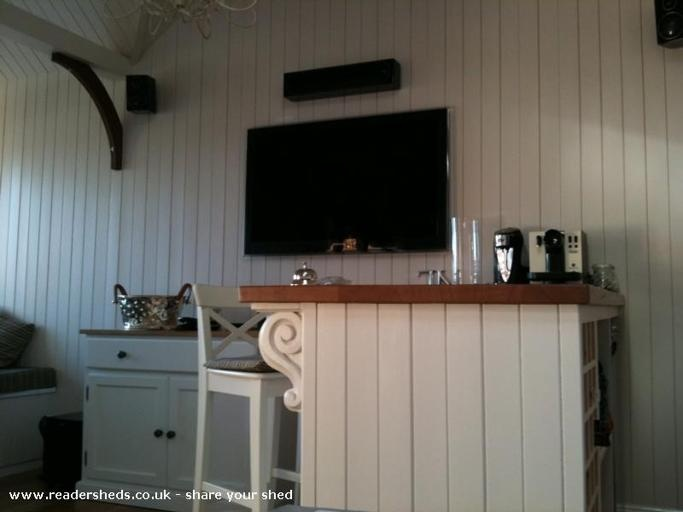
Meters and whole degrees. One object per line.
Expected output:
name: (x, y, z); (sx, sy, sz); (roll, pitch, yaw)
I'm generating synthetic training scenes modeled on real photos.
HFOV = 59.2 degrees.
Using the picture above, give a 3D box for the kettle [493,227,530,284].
kettle: (0.981, -0.007, 3.480); (0.188, 0.316, 0.222); (-1, -3, 10)

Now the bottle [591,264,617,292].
bottle: (1.312, 0.112, 3.005); (0.092, 0.158, 0.087); (-1, -12, 0)

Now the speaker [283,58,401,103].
speaker: (-0.013, -1.147, 3.905); (0.943, 0.264, 0.167); (0, -8, 26)

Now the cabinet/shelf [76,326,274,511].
cabinet/shelf: (-0.913, 0.942, 3.365); (1.007, 1.083, 0.434); (-1, -6, 14)

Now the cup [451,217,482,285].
cup: (0.507, -0.023, 2.413); (0.130, 0.256, 0.090); (0, -3, -7)
